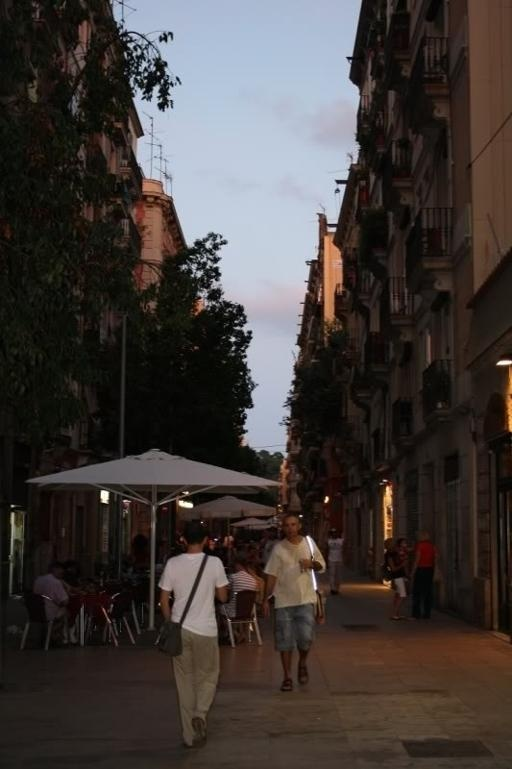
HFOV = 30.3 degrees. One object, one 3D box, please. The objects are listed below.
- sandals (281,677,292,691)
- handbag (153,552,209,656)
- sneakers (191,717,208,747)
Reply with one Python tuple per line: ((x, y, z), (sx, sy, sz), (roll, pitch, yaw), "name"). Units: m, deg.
((0.279, 2.757, 8.679), (0.111, 0.130, 0.188), (-1, -10, 0), "sandals")
((-0.454, 1.404, 5.973), (0.312, 0.621, 0.273), (0, -9, -4), "handbag")
((-0.339, 2.127, 5.811), (0.104, 0.172, 0.055), (0, 8, 7), "sneakers")
